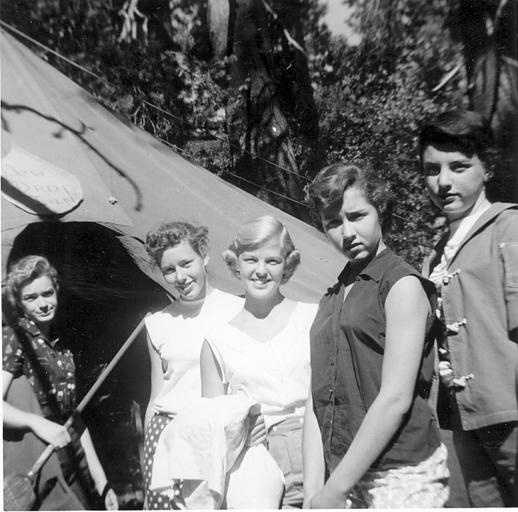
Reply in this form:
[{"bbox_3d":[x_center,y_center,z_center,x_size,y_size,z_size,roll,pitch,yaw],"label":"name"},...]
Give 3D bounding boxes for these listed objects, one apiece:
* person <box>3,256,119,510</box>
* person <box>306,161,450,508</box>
[{"bbox_3d":[-1.043,0.626,3.531,0.719,1.087,0.339,13,17,19],"label":"person"},{"bbox_3d":[0.501,0.423,2.928,0.621,1.446,0.670,4,16,-6],"label":"person"}]
